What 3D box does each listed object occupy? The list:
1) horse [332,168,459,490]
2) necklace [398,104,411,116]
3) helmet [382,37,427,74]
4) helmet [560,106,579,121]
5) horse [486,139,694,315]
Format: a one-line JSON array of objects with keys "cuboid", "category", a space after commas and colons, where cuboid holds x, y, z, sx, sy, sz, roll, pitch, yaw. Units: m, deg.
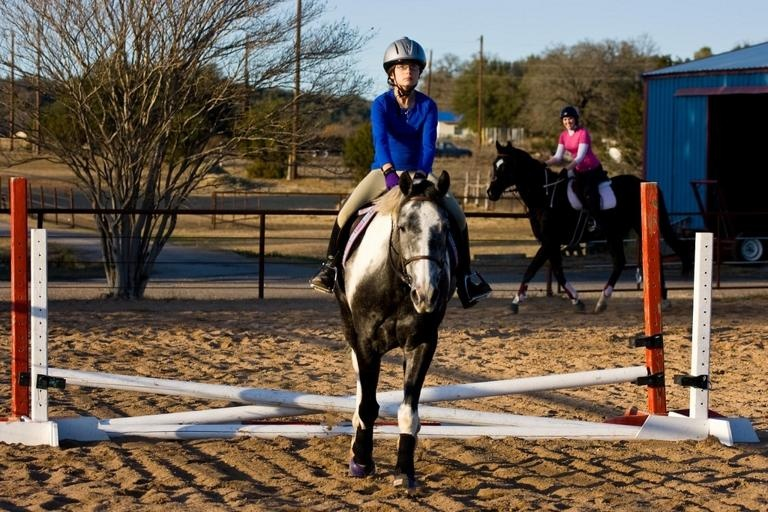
[{"cuboid": [0.137, 0.995, 16.302, 1.521, 4.287, 0.924, 0, 5, 11], "category": "horse"}, {"cuboid": [0.261, -2.077, 16.923, 0.123, 0.112, 0.146, 0, 8, -4], "category": "necklace"}, {"cuboid": [0.261, -2.845, 16.645, 0.555, 0.498, 0.634, -1, 5, 0], "category": "helmet"}, {"cuboid": [3.493, -2.711, 22.494, 0.256, 0.281, 0.347, 2, 11, 6], "category": "helmet"}, {"cuboid": [3.718, -0.570, 22.924, 3.609, 3.304, 1.382, -3, 6, -25], "category": "horse"}]
